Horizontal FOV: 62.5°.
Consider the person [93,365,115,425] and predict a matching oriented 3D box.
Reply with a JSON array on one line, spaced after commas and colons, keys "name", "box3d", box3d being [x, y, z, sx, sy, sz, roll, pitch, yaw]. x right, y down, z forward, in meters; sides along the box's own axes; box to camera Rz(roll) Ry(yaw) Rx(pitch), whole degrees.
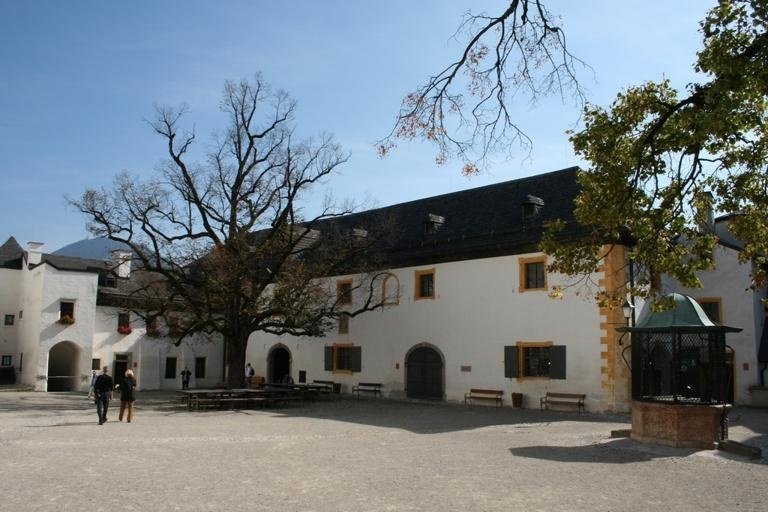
[{"name": "person", "box3d": [-10.418, 5.154, 23.379, 0.699, 2.045, 0.612, 9, -14, -43]}]

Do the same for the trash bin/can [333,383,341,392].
[{"name": "trash bin/can", "box3d": [-2.656, 7.513, 36.625, 0.391, 0.587, 0.581, 3, -5, -33]}]

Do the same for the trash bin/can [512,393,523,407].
[{"name": "trash bin/can", "box3d": [6.191, 6.643, 29.211, 0.526, 0.613, 0.538, -7, -12, 35]}]
